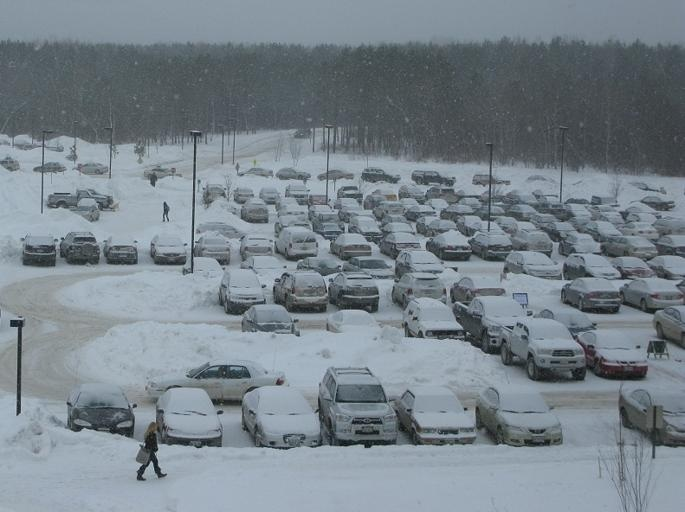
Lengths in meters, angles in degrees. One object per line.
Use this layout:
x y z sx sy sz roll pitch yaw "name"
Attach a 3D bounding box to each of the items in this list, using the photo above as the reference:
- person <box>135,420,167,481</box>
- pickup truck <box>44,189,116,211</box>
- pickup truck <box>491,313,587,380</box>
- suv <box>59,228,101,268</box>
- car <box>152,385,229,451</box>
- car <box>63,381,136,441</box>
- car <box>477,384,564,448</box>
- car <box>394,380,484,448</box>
-7.479 7.513 42.070 1.041 2.250 1.183 2 3 43 "person"
-20.992 -4.415 86.782 3.075 1.735 7.754 1 5 15 "pickup truck"
9.619 4.465 53.037 2.598 2.885 5.956 0 4 -11 "pickup truck"
-16.450 -0.577 67.972 1.328 1.452 3.084 -1 14 -17 "suv"
-6.304 6.684 44.794 2.209 1.838 4.157 0 2 -15 "car"
-10.061 6.565 45.264 2.704 1.942 1.651 -1 5 -10 "car"
7.377 6.682 45.236 3.589 1.964 5.605 1 5 -3 "car"
3.809 6.812 45.906 2.673 2.426 2.283 -4 4 -8 "car"
